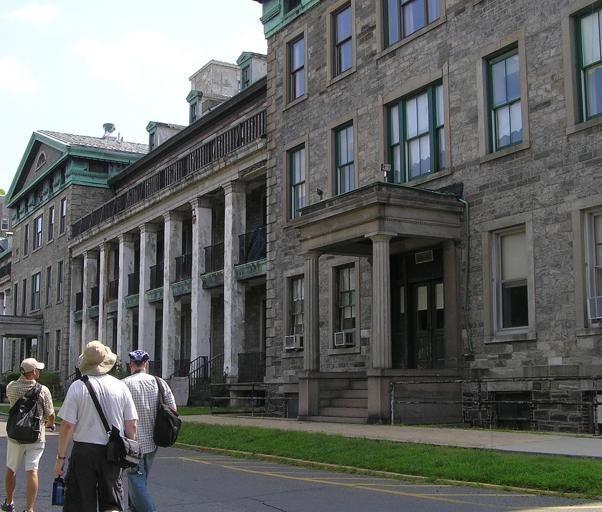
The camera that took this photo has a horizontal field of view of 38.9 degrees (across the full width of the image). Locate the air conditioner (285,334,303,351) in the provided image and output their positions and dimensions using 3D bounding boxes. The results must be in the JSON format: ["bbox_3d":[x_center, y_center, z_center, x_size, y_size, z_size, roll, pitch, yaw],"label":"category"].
[{"bbox_3d":[-0.195,2.528,25.244,0.295,0.484,1.153,7,-16,-23],"label":"air conditioner"}]

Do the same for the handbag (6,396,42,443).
[{"bbox_3d":[-3.496,2.060,10.775,0.414,0.595,0.203,4,-13,-13],"label":"handbag"}]

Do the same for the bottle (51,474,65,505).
[{"bbox_3d":[-2.433,2.349,8.572,0.110,0.282,0.329,5,-15,-17],"label":"bottle"}]

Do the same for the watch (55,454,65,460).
[{"bbox_3d":[-2.451,2.056,8.689,0.083,0.040,0.093,5,-7,-11],"label":"watch"}]

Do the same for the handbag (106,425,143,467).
[{"bbox_3d":[-1.800,1.915,8.588,0.199,0.399,0.372,-15,-30,16],"label":"handbag"}]
